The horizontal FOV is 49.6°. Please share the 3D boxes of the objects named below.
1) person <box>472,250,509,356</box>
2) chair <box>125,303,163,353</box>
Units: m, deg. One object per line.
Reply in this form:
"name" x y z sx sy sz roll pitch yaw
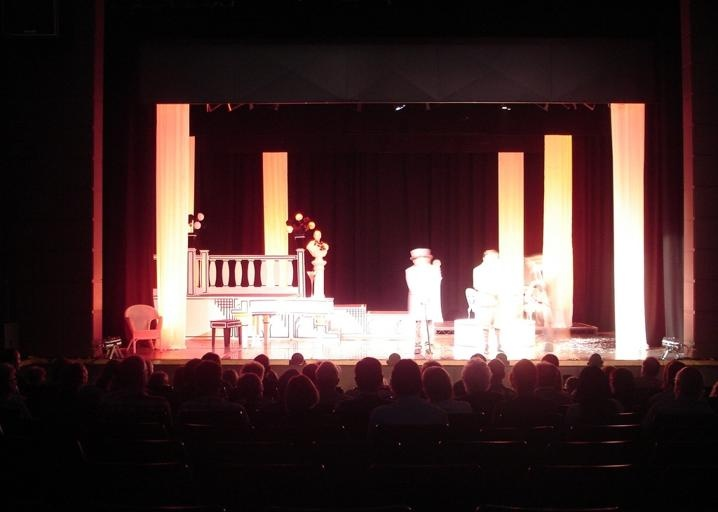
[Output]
"person" 1.988 0.712 11.741 0.515 1.658 0.513 -2 -5 20
"chair" -3.160 1.053 11.328 0.588 0.676 0.613 -3 -3 13
